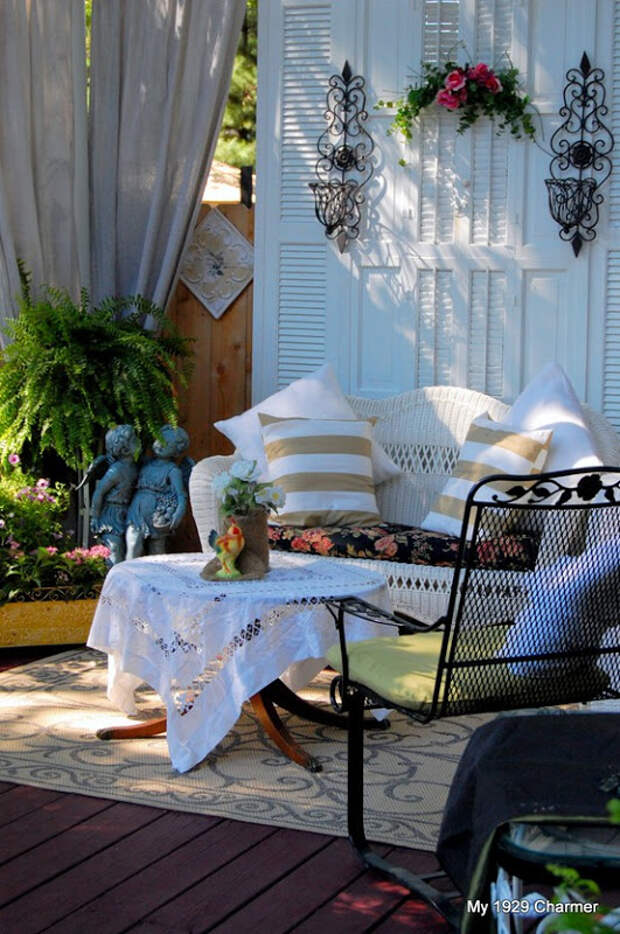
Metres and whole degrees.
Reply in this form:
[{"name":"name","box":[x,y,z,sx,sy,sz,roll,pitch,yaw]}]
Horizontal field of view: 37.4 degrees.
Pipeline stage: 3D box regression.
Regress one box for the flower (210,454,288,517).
[{"name":"flower","box":[-0.156,0.059,2.419,0.189,0.144,0.135,1,2,-21]}]

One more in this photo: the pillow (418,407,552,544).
[{"name":"pillow","box":[0.642,0.066,3.117,0.132,0.416,0.432,20,0,-29]}]

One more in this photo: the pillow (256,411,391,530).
[{"name":"pillow","box":[0.030,0.018,3.273,0.416,0.401,0.137,2,-31,-12]}]

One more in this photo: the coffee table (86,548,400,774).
[{"name":"coffee table","box":[-0.232,0.414,2.337,0.573,0.314,0.566,5,7,33]}]

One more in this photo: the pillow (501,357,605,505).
[{"name":"pillow","box":[0.826,-0.129,3.246,0.236,0.375,0.109,11,5,-40]}]

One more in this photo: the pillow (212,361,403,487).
[{"name":"pillow","box":[-0.066,-0.104,3.603,0.707,0.158,0.692,23,23,13]}]
